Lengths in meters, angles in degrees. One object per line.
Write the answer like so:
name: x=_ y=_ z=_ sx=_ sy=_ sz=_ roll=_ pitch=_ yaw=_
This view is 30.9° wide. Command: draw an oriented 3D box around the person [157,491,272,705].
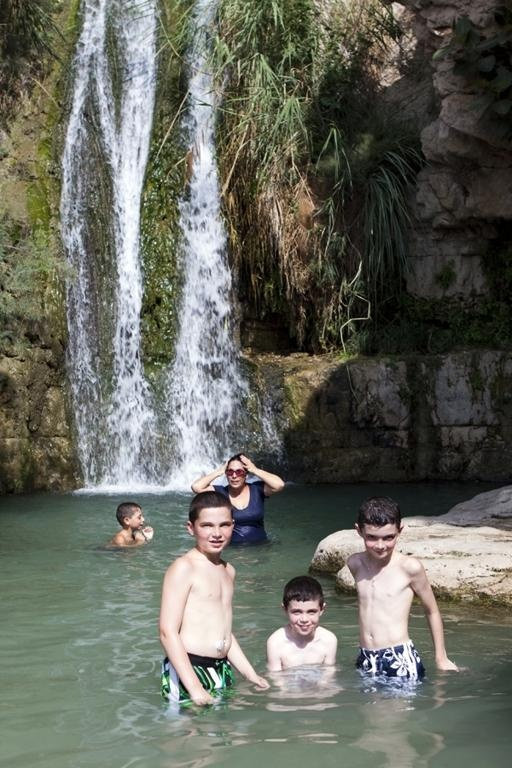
person: x=-0.161 y=0.800 z=3.490 sx=0.307 sy=0.785 sz=0.475 roll=4 pitch=3 yaw=27

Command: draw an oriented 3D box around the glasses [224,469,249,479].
glasses: x=-0.138 y=0.604 z=6.393 sx=0.151 sy=0.091 sz=0.198 roll=3 pitch=2 yaw=-1
